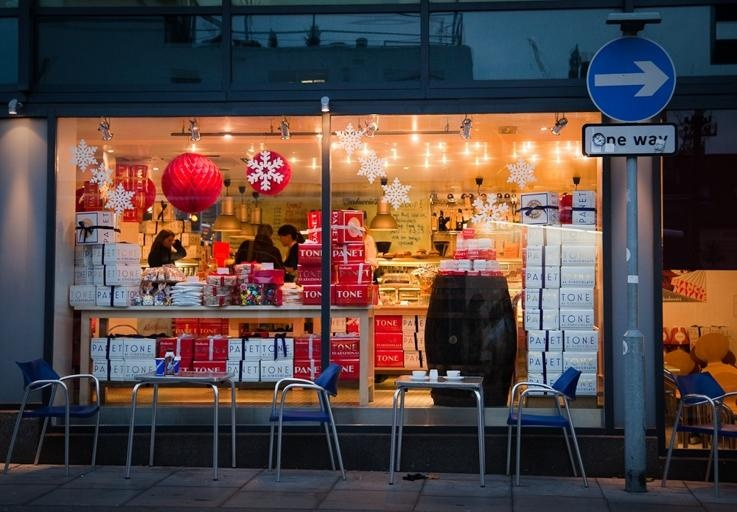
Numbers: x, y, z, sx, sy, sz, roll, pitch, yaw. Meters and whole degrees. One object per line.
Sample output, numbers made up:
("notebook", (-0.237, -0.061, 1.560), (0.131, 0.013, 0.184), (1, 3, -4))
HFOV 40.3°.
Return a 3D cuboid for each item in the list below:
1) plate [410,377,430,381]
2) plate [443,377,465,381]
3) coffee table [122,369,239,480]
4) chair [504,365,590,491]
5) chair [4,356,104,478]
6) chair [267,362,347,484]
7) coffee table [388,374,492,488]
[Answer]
("plate", (0.519, 1.234, 10.090), (0.174, 0.032, 0.178), (0, 0, -1))
("plate", (0.856, 1.241, 10.112), (0.196, 0.031, 0.230), (0, 0, 6))
("coffee table", (-1.917, 1.715, 10.519), (1.090, 1.087, 0.883), (-1, -2, -4))
("chair", (1.816, 1.718, 10.280), (0.807, 1.140, 1.040), (0, 0, 8))
("chair", (-3.225, 1.621, 10.433), (0.869, 1.256, 0.938), (0, -7, 3))
("chair", (-0.649, 1.681, 10.482), (0.789, 1.125, 1.183), (1, 0, -6))
("coffee table", (0.708, 1.739, 10.400), (1.027, 1.078, 0.860), (2, 0, 4))
